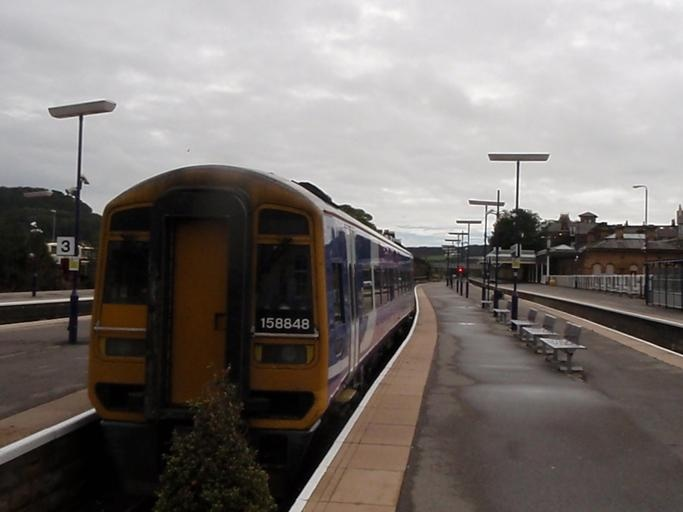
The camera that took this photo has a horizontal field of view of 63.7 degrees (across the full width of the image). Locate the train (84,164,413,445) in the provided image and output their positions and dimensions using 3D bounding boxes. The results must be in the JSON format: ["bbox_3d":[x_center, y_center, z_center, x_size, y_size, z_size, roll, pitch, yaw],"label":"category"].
[{"bbox_3d":[-1.041,0.503,7.681,2.377,3.406,3.968,1,0,41],"label":"train"}]
